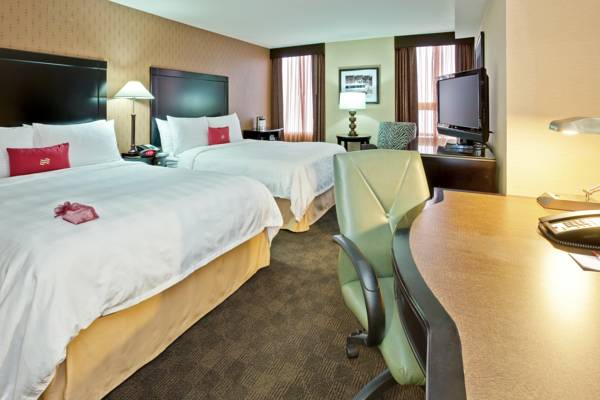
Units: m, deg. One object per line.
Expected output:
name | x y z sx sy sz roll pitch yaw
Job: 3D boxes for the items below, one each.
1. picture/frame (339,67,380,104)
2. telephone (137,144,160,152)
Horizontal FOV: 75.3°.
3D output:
picture/frame | 1.143 -2.130 7.263 0.695 0.655 0.070 2 5 26
telephone | -1.971 -0.682 5.128 0.181 0.078 0.246 5 3 27
